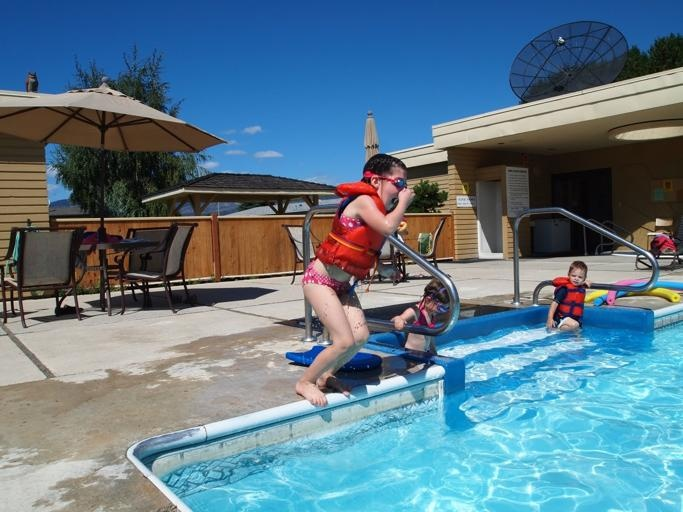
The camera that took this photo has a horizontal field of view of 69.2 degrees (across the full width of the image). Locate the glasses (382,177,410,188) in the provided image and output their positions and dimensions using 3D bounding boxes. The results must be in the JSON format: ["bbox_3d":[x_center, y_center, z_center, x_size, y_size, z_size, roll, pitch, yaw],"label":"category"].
[{"bbox_3d":[0.321,-0.409,2.736,0.084,0.026,0.081,8,3,-32],"label":"glasses"}]

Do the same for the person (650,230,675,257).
[{"bbox_3d":[6.020,-0.197,9.133,0.406,0.464,1.059,11,13,33],"label":"person"}]

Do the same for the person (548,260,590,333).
[{"bbox_3d":[2.314,0.376,5.002,0.340,0.713,0.450,11,14,32],"label":"person"}]

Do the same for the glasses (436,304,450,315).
[{"bbox_3d":[0.775,0.392,3.673,0.082,0.068,0.068,-11,-13,39],"label":"glasses"}]

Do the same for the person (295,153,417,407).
[{"bbox_3d":[0.071,0.114,2.774,0.579,1.374,0.472,3,12,-4],"label":"person"}]
